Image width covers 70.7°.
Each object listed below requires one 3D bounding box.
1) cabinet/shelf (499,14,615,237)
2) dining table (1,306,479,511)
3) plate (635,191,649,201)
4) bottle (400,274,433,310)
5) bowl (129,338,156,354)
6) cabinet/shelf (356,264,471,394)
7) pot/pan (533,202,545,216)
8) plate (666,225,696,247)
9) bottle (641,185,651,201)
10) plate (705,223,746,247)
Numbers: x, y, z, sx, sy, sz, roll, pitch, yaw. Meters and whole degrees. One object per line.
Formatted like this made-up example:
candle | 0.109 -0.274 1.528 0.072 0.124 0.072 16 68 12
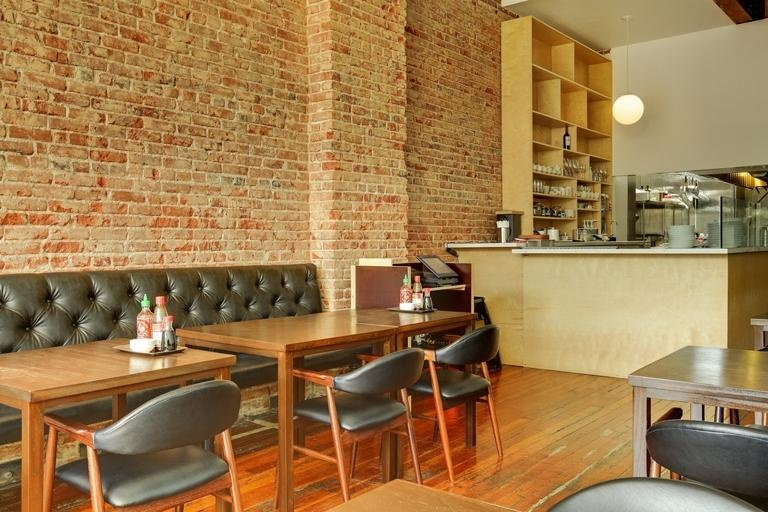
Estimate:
cabinet/shelf | 2.811 -1.860 8.493 1.067 3.144 2.987 5 8 39
dining table | -0.873 0.968 3.292 2.388 0.980 0.892 -4 7 -39
plate | 4.488 -1.038 9.359 0.204 0.121 0.193 -4 5 -23
bottle | 0.265 0.295 4.258 0.290 0.258 0.289 -3 -5 31
bowl | -1.314 0.482 2.925 0.108 0.040 0.097 1 -4 2
cabinet/shelf | 0.287 0.549 4.506 0.816 0.907 1.090 -3 -4 36
pot/pan | 2.287 -0.689 7.995 0.254 0.204 0.233 1 5 14
plate | 3.117 -0.199 5.654 0.263 0.197 0.257 -1 0 34
bottle | 4.505 -1.085 9.337 0.167 0.245 0.034 5 9 44
plate | 3.867 -0.237 6.145 0.381 0.230 0.334 -1 1 -22
